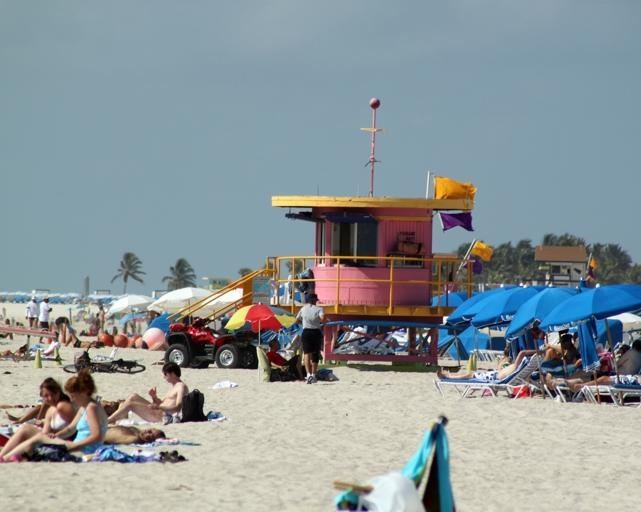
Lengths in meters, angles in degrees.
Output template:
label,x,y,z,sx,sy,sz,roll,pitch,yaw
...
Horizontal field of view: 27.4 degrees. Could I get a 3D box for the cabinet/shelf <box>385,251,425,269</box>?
label,x,y,z,sx,sy,sz,roll,pitch,yaw
cabinet/shelf,2.016,0.106,31.046,0.893,0.386,0.638,1,-6,-1

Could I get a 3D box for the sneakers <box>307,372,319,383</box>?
label,x,y,z,sx,sy,sz,roll,pitch,yaw
sneakers,-0.198,2.577,27.570,0.205,0.276,0.587,1,2,6

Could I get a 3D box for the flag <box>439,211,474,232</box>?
label,x,y,z,sx,sy,sz,roll,pitch,yaw
flag,3.290,-0.867,31.857,0.725,0.578,1.370,1,-6,3

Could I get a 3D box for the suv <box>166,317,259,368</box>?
label,x,y,z,sx,sy,sz,roll,pitch,yaw
suv,-2.629,2.064,31.205,1.970,1.039,1.074,3,-3,18

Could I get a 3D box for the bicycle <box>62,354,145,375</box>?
label,x,y,z,sx,sy,sz,roll,pitch,yaw
bicycle,-4.983,2.498,29.728,1.757,0.760,0.879,0,3,-15

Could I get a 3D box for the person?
label,x,y,z,sx,sy,sz,roll,pitch,yaw
person,-3.441,2.470,20.215,2.608,1.367,0.980,5,1,3
